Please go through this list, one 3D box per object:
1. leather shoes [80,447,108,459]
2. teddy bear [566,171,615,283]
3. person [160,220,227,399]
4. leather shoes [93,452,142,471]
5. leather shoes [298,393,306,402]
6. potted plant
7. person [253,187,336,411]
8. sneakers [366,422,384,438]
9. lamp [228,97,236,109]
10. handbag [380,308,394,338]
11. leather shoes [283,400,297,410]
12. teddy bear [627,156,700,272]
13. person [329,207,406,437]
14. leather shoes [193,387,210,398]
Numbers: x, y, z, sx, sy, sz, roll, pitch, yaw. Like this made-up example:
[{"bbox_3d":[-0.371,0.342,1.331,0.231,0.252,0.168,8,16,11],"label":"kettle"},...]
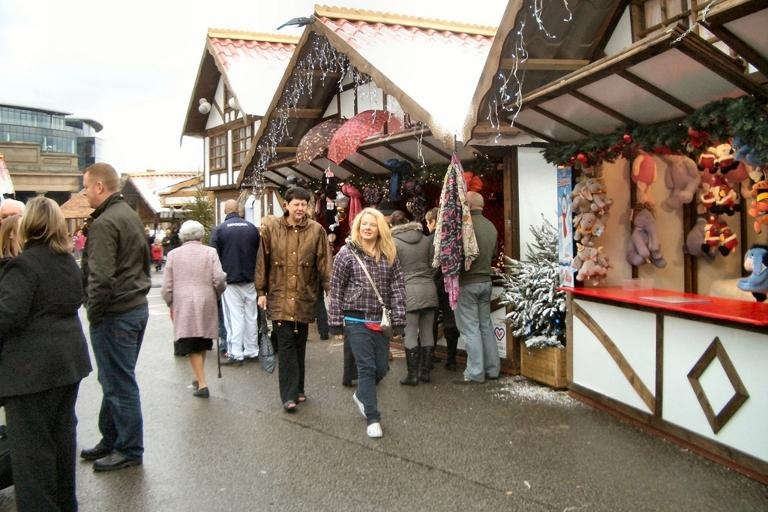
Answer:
[{"bbox_3d":[-3.083,2.098,5.993,0.276,0.132,0.127,8,-8,-28],"label":"leather shoes"},{"bbox_3d":[2.636,-0.365,7.211,0.488,1.485,0.300,1,8,19],"label":"teddy bear"},{"bbox_3d":[-2.637,0.700,7.729,0.727,2.310,0.713,0,8,10],"label":"person"},{"bbox_3d":[-2.724,2.130,5.761,0.433,0.195,0.175,6,-9,-24],"label":"leather shoes"},{"bbox_3d":[-1.073,1.846,7.286,0.146,0.081,0.216,0,3,-4],"label":"leather shoes"},{"bbox_3d":[2.102,0.640,7.865,0.808,2.209,1.140,-2,8,-4],"label":"potted plant"},{"bbox_3d":[-1.121,0.522,7.128,0.952,2.759,0.746,-4,8,-15],"label":"person"},{"bbox_3d":[-0.109,1.940,6.313,0.189,0.150,0.211,-2,9,-3],"label":"sneakers"},{"bbox_3d":[-5.647,-5.734,20.880,0.226,0.450,1.629,-4,10,-17],"label":"lamp"},{"bbox_3d":[0.024,0.758,6.351,0.156,0.341,0.103,-9,11,-41],"label":"handbag"},{"bbox_3d":[-1.166,1.857,6.957,0.142,0.155,0.137,-3,9,-11],"label":"leather shoes"},{"bbox_3d":[3.676,-0.610,7.544,1.021,1.547,0.580,-6,9,-29],"label":"teddy bear"},{"bbox_3d":[-0.156,0.727,6.489,0.747,2.481,0.718,5,10,37],"label":"person"},{"bbox_3d":[-2.454,1.839,7.543,0.249,0.118,0.109,4,10,30],"label":"leather shoes"}]
